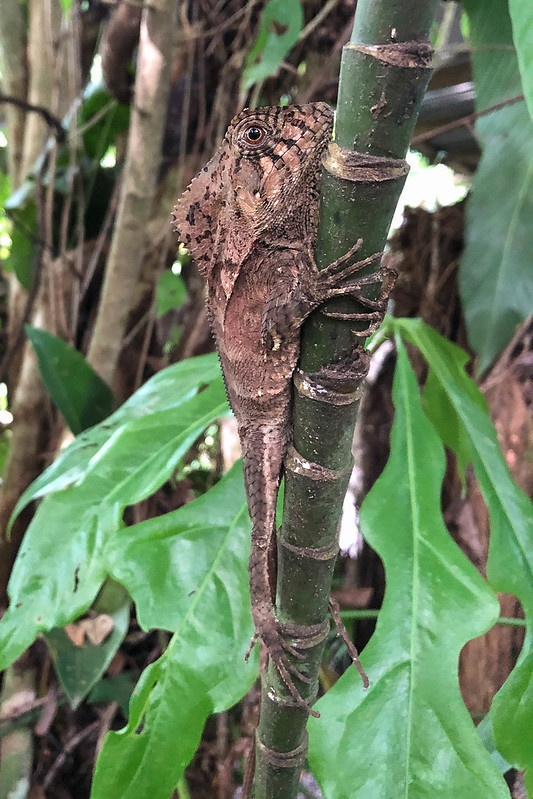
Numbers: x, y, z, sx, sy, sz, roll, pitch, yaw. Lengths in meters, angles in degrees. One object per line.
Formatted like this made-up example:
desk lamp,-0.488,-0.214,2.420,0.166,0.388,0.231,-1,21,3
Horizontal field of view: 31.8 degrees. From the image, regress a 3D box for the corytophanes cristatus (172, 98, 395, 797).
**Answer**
corytophanes cristatus,-0.006,0.012,1.289,0.352,0.330,0.768,6,100,13
